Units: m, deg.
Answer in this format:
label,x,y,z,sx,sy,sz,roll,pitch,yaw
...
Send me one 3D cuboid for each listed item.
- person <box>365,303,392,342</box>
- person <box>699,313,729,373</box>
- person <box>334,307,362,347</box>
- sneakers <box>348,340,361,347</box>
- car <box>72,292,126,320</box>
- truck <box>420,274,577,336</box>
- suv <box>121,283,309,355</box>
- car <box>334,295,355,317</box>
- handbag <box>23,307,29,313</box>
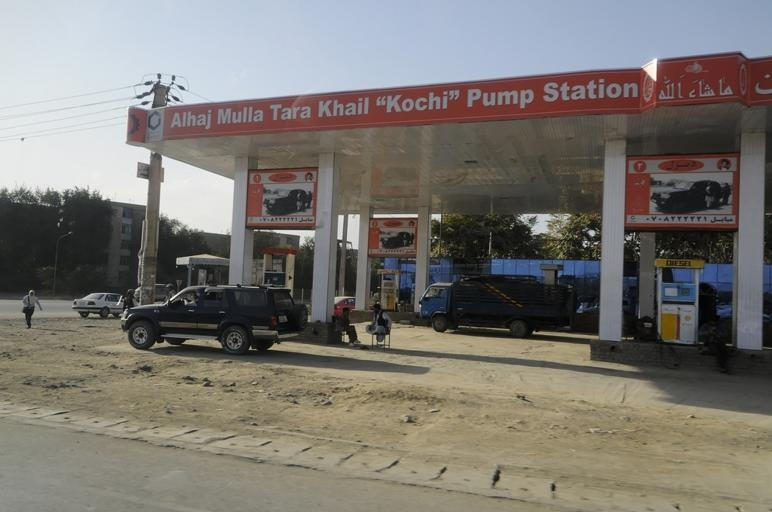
label,x,y,z,sx,sy,sz,roll,pitch,yaw
person,-0.313,2.329,21.797,0.859,1.213,0.777,-7,2,-18
person,9.908,2.659,18.404,0.846,1.543,0.544,3,3,27
person,-1.460,2.600,22.775,0.899,1.445,2.079,2,3,-5
sneakers,-1.119,3.180,22.131,0.507,0.213,0.173,-8,-9,40
car,-15.475,2.743,33.757,1.347,0.869,2.831,0,1,8
truck,5.445,2.240,29.360,6.598,2.607,2.941,1,-3,19
suv,-5.580,1.863,19.858,5.133,1.699,2.327,3,-2,9
car,-2.495,2.811,34.906,1.072,0.783,2.497,1,2,27
handbag,-14.577,2.173,24.643,0.365,0.211,0.127,4,3,34
